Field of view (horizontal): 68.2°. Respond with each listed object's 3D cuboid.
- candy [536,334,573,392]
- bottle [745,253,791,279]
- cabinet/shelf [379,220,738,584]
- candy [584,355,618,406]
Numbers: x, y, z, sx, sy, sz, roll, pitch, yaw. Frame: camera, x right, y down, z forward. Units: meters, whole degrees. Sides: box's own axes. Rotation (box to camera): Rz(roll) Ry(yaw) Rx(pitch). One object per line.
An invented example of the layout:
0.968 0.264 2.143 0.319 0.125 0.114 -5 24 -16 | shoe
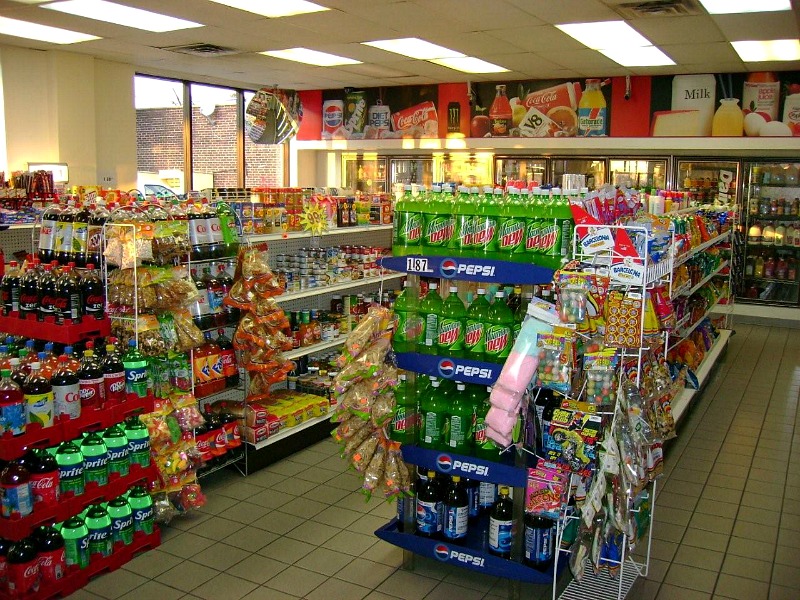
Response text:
0.802 0.317 3.057 0.196 0.280 0.089 3 6 19 | candy
6.192 -0.533 9.909 0.712 0.372 0.235 7 14 27 | bottle
2.561 0.056 6.330 1.518 2.230 7.697 8 15 32 | cabinet/shelf
1.038 0.408 3.066 0.156 0.259 0.090 4 13 13 | candy
